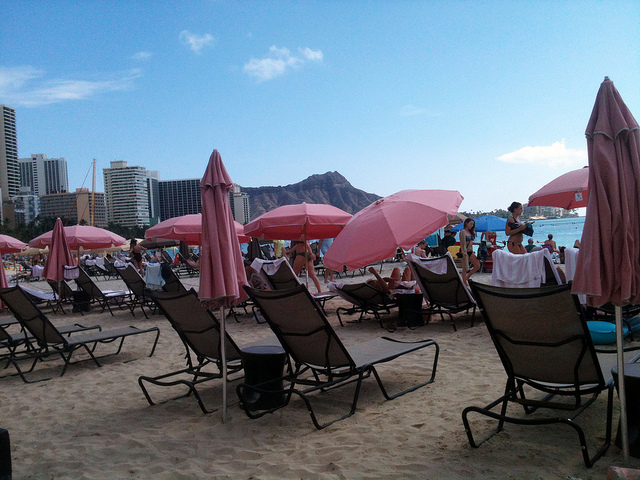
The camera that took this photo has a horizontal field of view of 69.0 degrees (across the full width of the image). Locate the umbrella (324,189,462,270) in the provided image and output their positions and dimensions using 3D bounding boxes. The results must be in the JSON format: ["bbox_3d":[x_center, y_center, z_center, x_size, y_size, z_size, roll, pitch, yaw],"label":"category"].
[{"bbox_3d":[1.189,-0.197,7.969,2.251,1.317,1.150,-3,3,10],"label":"umbrella"}]

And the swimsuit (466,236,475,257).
[{"bbox_3d":[3.775,0.144,11.820,0.150,0.513,0.406,8,12,10],"label":"swimsuit"}]

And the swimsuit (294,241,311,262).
[{"bbox_3d":[-0.427,0.233,11.306,0.428,0.157,0.419,0,-42,-35],"label":"swimsuit"}]

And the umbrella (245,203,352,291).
[{"bbox_3d":[-0.551,0.186,11.426,2.113,2.190,2.040,-6,9,-25],"label":"umbrella"}]

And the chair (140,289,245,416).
[{"bbox_3d":[-1.159,1.182,5.132,0.787,1.007,1.547,-8,-21,35],"label":"chair"}]

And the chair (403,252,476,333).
[{"bbox_3d":[2.394,0.804,7.858,1.731,1.246,0.852,2,-6,-38],"label":"chair"}]

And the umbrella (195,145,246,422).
[{"bbox_3d":[-0.931,0.308,4.354,0.396,2.339,0.434,-3,3,3],"label":"umbrella"}]

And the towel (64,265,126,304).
[{"bbox_3d":[-6.440,1.286,13.371,0.797,1.571,1.149,5,24,7],"label":"towel"}]

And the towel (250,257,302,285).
[{"bbox_3d":[-0.734,0.420,7.568,0.397,0.275,1.059,-5,3,-34],"label":"towel"}]

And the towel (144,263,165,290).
[{"bbox_3d":[-3.181,0.714,8.999,0.524,0.617,0.120,-1,-10,-6],"label":"towel"}]

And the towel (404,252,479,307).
[{"bbox_3d":[1.881,0.597,7.555,0.993,0.802,0.533,-2,3,22],"label":"towel"}]

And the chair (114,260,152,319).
[{"bbox_3d":[-4.026,1.252,10.217,0.747,1.310,0.445,22,-36,-35],"label":"chair"}]

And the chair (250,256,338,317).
[{"bbox_3d":[-0.251,0.765,8.046,0.819,0.991,1.714,-3,-5,41],"label":"chair"}]

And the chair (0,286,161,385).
[{"bbox_3d":[-3.476,1.162,6.750,1.868,0.931,2.151,-4,3,-18],"label":"chair"}]

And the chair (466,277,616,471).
[{"bbox_3d":[2.369,1.088,4.385,0.974,1.410,2.599,-4,-5,44],"label":"chair"}]

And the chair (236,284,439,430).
[{"bbox_3d":[0.254,1.106,5.053,0.859,1.373,2.374,-7,-6,39],"label":"chair"}]

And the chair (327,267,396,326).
[{"bbox_3d":[0.882,1.035,8.536,0.730,0.847,1.375,-13,-19,29],"label":"chair"}]

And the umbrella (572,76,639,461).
[{"bbox_3d":[2.017,-0.368,3.278,0.362,1.633,0.479,0,4,42],"label":"umbrella"}]

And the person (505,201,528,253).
[{"bbox_3d":[3.914,-0.262,9.333,0.364,1.005,1.085,-2,3,24],"label":"person"}]

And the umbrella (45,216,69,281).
[{"bbox_3d":[-6.111,0.234,10.809,0.512,1.071,0.737,-5,3,-31],"label":"umbrella"}]
